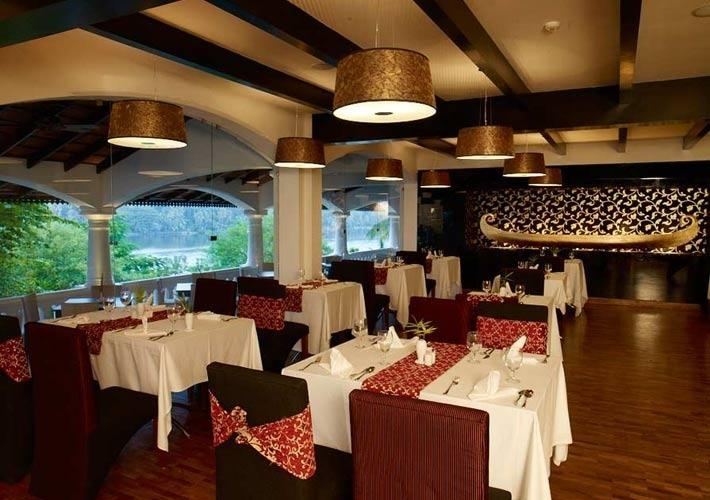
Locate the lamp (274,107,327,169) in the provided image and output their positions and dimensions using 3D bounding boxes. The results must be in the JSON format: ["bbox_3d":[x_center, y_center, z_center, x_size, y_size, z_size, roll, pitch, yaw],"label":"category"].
[{"bbox_3d":[-0.679,-1.373,6.545,0.515,0.600,0.541,0,2,-1],"label":"lamp"}]

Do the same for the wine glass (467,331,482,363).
[{"bbox_3d":[1.004,0.784,4.272,0.106,0.246,0.345,-1,1,15],"label":"wine glass"}]

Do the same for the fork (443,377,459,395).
[{"bbox_3d":[0.709,0.990,3.752,0.048,0.048,0.317,0,14,21],"label":"fork"}]

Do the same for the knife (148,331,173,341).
[{"bbox_3d":[-1.765,0.769,4.669,0.053,0.061,0.405,4,0,22],"label":"knife"}]

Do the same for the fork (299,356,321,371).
[{"bbox_3d":[-0.340,0.895,4.078,0.047,0.031,0.235,5,5,12],"label":"fork"}]

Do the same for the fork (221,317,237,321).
[{"bbox_3d":[-1.298,0.707,5.270,0.115,0.032,0.043,3,2,33],"label":"fork"}]

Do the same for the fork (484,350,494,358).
[{"bbox_3d":[1.137,0.875,4.365,0.041,0.004,0.130,2,7,30],"label":"fork"}]

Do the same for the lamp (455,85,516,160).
[{"bbox_3d":[1.458,-1.479,6.064,0.787,0.949,0.818,1,-2,3],"label":"lamp"}]

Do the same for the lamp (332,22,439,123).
[{"bbox_3d":[0.214,-1.180,3.746,0.595,0.687,0.603,6,-10,-36],"label":"lamp"}]

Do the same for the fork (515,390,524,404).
[{"bbox_3d":[1.151,1.025,3.564,0.030,0.024,0.173,-1,11,23],"label":"fork"}]

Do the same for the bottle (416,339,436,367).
[{"bbox_3d":[0.579,0.827,4.204,0.157,0.189,0.223,-1,1,11],"label":"bottle"}]

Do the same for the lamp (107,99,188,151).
[{"bbox_3d":[-2.043,-1.199,4.899,0.556,0.267,0.579,0,2,21],"label":"lamp"}]

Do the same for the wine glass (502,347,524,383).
[{"bbox_3d":[1.223,0.870,3.960,0.126,0.207,0.359,-1,1,19],"label":"wine glass"}]

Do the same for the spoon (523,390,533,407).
[{"bbox_3d":[1.212,1.014,3.590,0.046,0.037,0.239,-9,13,29],"label":"spoon"}]

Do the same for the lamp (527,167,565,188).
[{"bbox_3d":[3.891,-1.444,10.403,0.582,0.322,0.607,-1,0,7],"label":"lamp"}]

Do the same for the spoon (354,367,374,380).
[{"bbox_3d":[0.076,0.937,3.921,0.052,0.030,0.221,7,8,19],"label":"spoon"}]
